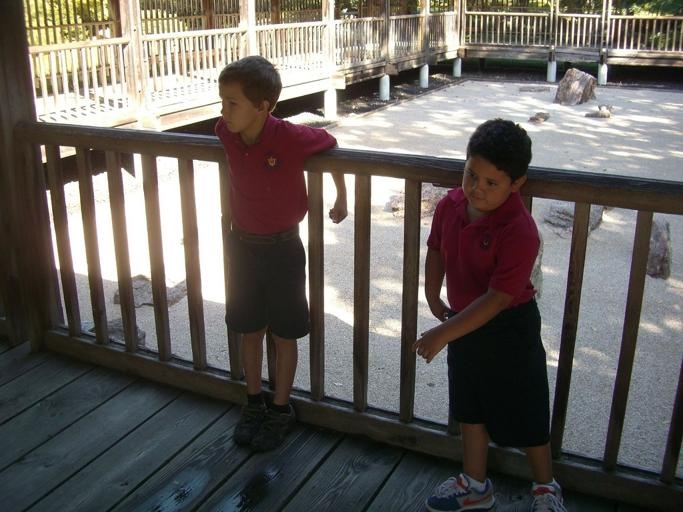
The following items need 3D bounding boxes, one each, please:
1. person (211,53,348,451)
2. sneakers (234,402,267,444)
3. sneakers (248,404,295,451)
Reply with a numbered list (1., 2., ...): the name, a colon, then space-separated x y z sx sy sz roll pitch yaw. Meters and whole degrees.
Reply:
1. person: -0.226 -0.001 2.071 0.466 1.403 0.443 -4 21 -8
2. sneakers: -0.372 0.670 2.225 0.090 0.121 0.276 6 7 1
3. sneakers: -0.256 0.677 2.171 0.079 0.108 0.229 1 23 31
